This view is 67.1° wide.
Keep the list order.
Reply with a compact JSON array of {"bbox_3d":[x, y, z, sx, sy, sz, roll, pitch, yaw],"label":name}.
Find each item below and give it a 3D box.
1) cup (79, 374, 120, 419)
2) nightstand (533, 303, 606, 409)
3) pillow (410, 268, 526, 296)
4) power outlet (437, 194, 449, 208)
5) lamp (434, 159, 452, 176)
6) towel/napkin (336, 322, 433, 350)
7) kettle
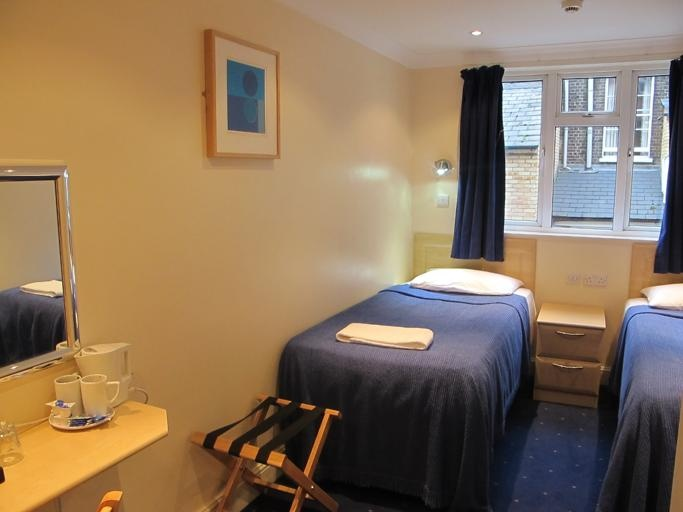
[{"bbox_3d":[-0.985,0.569,2.084,0.173,0.173,0.111,2,-3,-28],"label":"cup"},{"bbox_3d":[1.776,0.742,4.076,0.515,0.710,0.567,2,7,27],"label":"nightstand"},{"bbox_3d":[1.016,0.182,4.290,0.942,0.201,0.679,6,7,22],"label":"pillow"},{"bbox_3d":[0.931,-0.502,4.702,0.099,0.114,0.011,12,18,34],"label":"power outlet"},{"bbox_3d":[0.916,-0.794,4.645,0.153,0.144,0.061,0,14,7],"label":"lamp"},{"bbox_3d":[0.275,0.454,3.124,0.432,0.121,0.458,7,7,34],"label":"towel/napkin"},{"bbox_3d":[-1.018,0.479,2.219,0.216,0.271,0.181,2,6,21],"label":"kettle"}]
